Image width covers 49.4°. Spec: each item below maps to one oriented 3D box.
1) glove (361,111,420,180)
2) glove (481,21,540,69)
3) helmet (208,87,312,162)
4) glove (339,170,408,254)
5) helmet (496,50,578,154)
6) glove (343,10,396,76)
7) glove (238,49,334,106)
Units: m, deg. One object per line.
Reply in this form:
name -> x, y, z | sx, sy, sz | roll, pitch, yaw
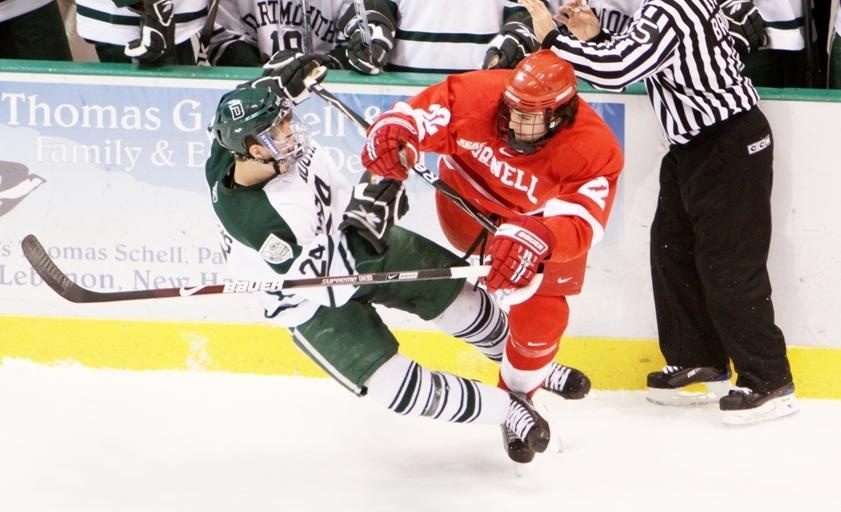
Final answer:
glove -> -0.139, -0.495, 4.366 | 0.255, 0.311, 0.135 | 15, -11, 12
glove -> 0.492, -1.161, 5.055 | 0.132, 0.326, 0.259 | 37, 16, -34
helmet -> -0.758, -0.607, 4.371 | 0.425, 0.384, 0.314 | -17, 31, 8
glove -> -0.223, -0.218, 4.476 | 0.365, 0.350, 0.147 | 25, -3, -23
helmet -> 0.561, -0.710, 4.308 | 0.252, 0.339, 0.326 | 48, -7, 25
glove -> -0.326, -1.194, 5.214 | 0.171, 0.385, 0.298 | -25, -36, 30
glove -> -0.650, -0.935, 4.691 | 0.433, 0.307, 0.163 | -12, -41, 23
